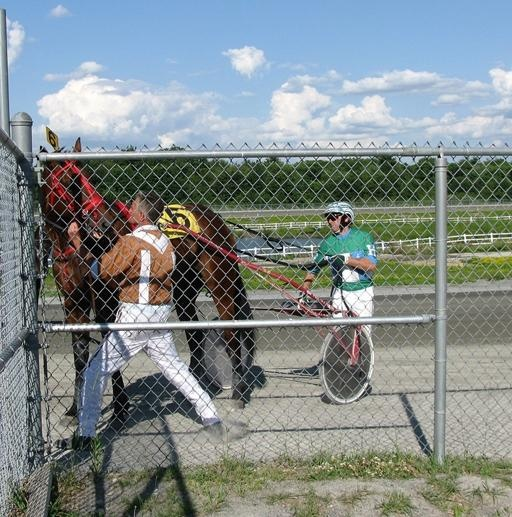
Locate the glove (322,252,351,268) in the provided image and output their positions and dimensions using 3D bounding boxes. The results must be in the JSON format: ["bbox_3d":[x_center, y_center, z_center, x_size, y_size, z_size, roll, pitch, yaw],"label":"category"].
[{"bbox_3d":[0.650,0.021,6.181,0.170,0.090,0.124,6,11,17],"label":"glove"}]

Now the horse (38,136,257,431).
[{"bbox_3d":[-1.216,0.316,6.771,0.700,2.096,2.573,-18,-13,-5],"label":"horse"}]

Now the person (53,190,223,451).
[{"bbox_3d":[-0.777,0.426,5.539,1.032,1.777,0.765,-2,6,-14],"label":"person"}]

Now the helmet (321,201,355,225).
[{"bbox_3d":[0.675,-0.367,6.321,0.256,0.182,0.334,0,6,7],"label":"helmet"}]

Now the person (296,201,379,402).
[{"bbox_3d":[0.697,0.018,6.416,0.607,0.972,0.738,0,5,3],"label":"person"}]
